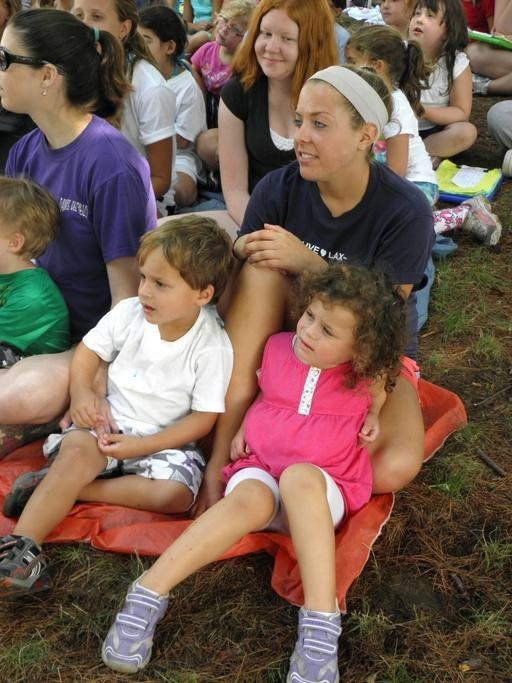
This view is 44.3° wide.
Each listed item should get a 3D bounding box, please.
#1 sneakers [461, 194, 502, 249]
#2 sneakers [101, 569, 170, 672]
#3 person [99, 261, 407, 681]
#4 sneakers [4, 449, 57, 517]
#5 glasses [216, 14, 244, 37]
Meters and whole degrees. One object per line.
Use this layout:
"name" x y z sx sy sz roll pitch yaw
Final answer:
"sneakers" 1.516 -0.802 4.213 0.216 0.155 0.437 6 34 -17
"sneakers" -0.288 0.700 1.617 0.109 0.100 0.234 25 32 -6
"person" 0.136 0.271 1.866 0.670 0.800 1.287 17 42 17
"sneakers" -0.720 0.428 1.991 0.076 0.075 0.257 41 78 -3
"glasses" -0.196 -2.444 4.977 0.182 0.120 0.218 18 6 7
